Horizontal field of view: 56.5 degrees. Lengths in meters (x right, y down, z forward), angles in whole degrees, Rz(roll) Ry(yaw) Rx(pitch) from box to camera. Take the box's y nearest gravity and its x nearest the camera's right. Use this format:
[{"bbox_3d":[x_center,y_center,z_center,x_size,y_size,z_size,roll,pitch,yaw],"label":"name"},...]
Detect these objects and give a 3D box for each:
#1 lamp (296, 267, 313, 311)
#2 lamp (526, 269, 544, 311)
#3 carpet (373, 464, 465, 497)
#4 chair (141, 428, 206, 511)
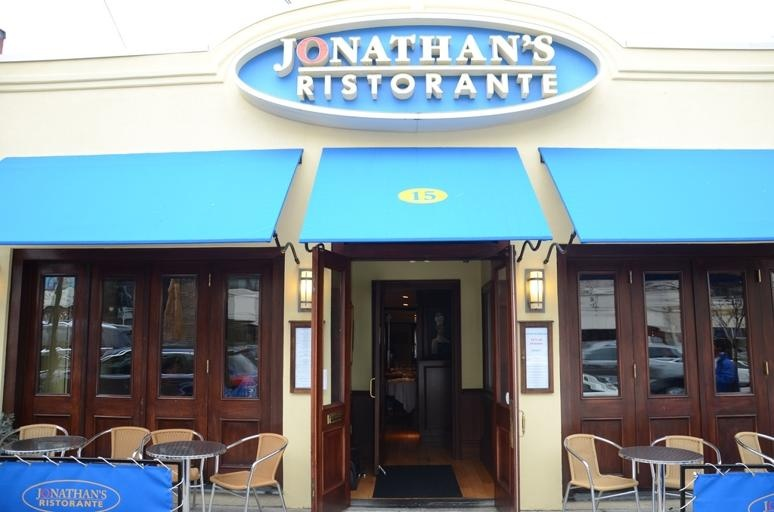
[{"bbox_3d":[-1.417,0.587,12.407,0.210,0.742,0.189,0,-12,-6],"label":"lamp"},{"bbox_3d":[2.520,0.599,12.373,0.277,0.708,0.168,0,-12,-7],"label":"lamp"},{"bbox_3d":[0.522,4.152,13.191,1.561,0.411,1.311,-1,-12,-2],"label":"carpet"},{"bbox_3d":[-3.678,3.355,11.815,1.056,1.232,0.954,0,-16,-7],"label":"chair"}]
